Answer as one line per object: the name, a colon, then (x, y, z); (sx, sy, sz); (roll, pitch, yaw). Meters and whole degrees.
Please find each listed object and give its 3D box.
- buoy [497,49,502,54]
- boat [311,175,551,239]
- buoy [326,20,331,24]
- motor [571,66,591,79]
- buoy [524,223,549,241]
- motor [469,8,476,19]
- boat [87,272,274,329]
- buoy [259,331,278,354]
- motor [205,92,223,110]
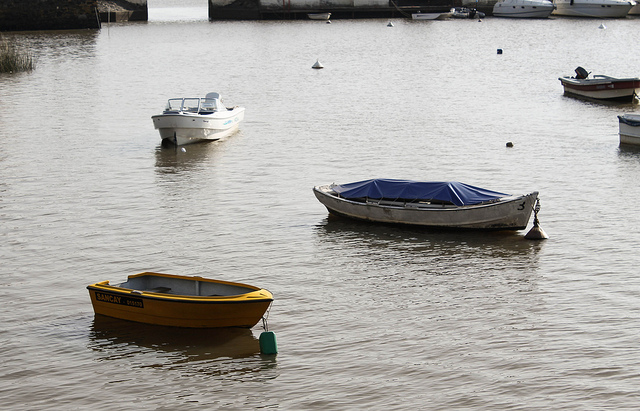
buoy: (18.659, -15.934, 89.315); (0.884, 0.446, 0.535); (6, 12, 4)
boat: (5.215, 0.028, 41.342); (11.371, 1.840, 3.143); (5, 10, 23)
buoy: (1.104, -25.534, 120.474); (0.856, 0.400, 0.900); (-2, 26, 8)
motor: (20.828, -10.427, 68.254); (1.256, 1.081, 1.243); (35, 18, 8)
buoy: (10.001, 1.198, 39.817); (1.080, 0.725, 1.019); (-7, 10, -41)
motor: (22.435, -28.035, 126.532); (0.955, 1.409, 1.594); (4, 14, 7)
boat: (-5.318, 3.740, 33.187); (7.786, 1.995, 4.114); (0, -5, -5)
buoy: (-1.927, 5.096, 32.243); (0.677, 0.801, 0.352); (1, 17, -2)
motor: (-6.885, -6.736, 55.439); (1.252, 1.034, 0.484); (-1, 12, 10)
